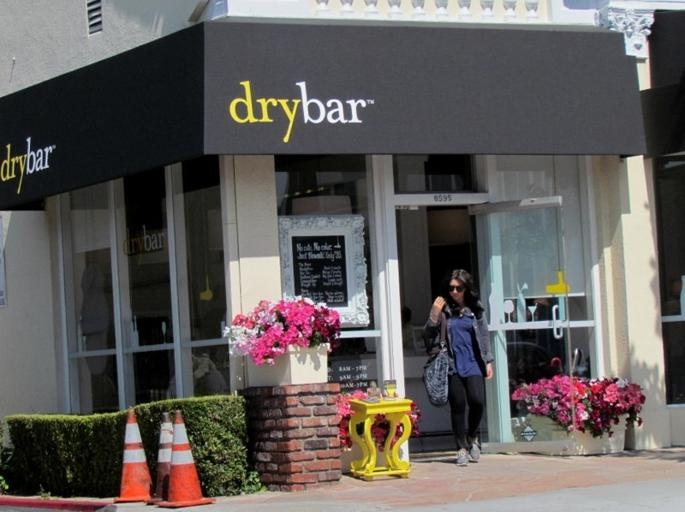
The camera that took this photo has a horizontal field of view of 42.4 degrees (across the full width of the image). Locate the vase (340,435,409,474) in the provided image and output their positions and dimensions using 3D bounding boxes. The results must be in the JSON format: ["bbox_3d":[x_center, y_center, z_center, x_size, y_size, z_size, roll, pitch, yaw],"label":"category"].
[{"bbox_3d":[0.355,2.308,10.010,0.594,0.722,0.585,1,-5,-12],"label":"vase"}]

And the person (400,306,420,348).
[{"bbox_3d":[0.972,1.082,13.061,0.224,0.652,0.704,-4,-7,2],"label":"person"}]

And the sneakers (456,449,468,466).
[{"bbox_3d":[1.365,2.335,10.235,0.120,0.195,0.178,-6,-7,16],"label":"sneakers"}]

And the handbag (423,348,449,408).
[{"bbox_3d":[1.089,1.400,10.334,0.301,0.632,0.200,-4,-7,5],"label":"handbag"}]

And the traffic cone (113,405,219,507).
[{"bbox_3d":[-1.798,2.104,9.209,0.951,1.017,0.524,-3,-2,43],"label":"traffic cone"}]

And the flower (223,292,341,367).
[{"bbox_3d":[-0.427,0.746,9.834,0.882,0.581,0.912,-3,-3,45],"label":"flower"}]

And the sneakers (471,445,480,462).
[{"bbox_3d":[1.568,2.349,10.500,0.080,0.107,0.234,0,-2,-4],"label":"sneakers"}]

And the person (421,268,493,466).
[{"bbox_3d":[1.346,1.311,10.420,0.740,2.269,0.391,-1,-7,-20],"label":"person"}]

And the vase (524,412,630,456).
[{"bbox_3d":[2.925,2.307,11.045,0.716,0.293,0.611,2,-5,-25],"label":"vase"}]

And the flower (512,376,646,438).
[{"bbox_3d":[3.363,1.982,11.220,1.038,0.510,0.917,-10,-2,-12],"label":"flower"}]

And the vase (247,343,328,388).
[{"bbox_3d":[-0.589,1.248,9.686,0.544,0.369,0.556,3,-9,-28],"label":"vase"}]

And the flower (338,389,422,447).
[{"bbox_3d":[0.409,1.894,9.815,0.649,0.494,0.460,3,-5,-41],"label":"flower"}]
